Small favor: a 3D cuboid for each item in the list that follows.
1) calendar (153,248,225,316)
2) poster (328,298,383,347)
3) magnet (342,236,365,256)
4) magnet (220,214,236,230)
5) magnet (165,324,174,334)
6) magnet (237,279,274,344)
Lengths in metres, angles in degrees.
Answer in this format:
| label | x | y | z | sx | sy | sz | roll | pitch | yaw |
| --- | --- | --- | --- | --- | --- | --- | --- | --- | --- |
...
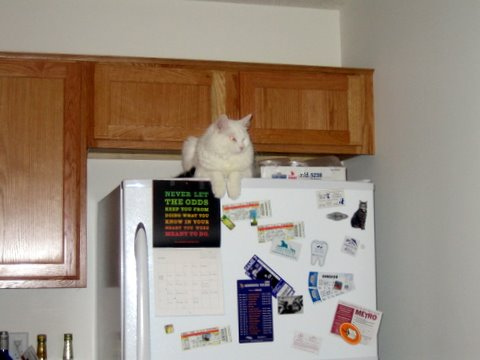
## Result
| label | x | y | z | sx | sy | sz | roll | pitch | yaw |
| --- | --- | --- | --- | --- | --- | --- | --- | --- | --- |
| calendar | -0.182 | 0.353 | 2.138 | 0.237 | 0.177 | 0.038 | -2 | -1 | -10 |
| poster | 0.438 | 0.512 | 2.255 | 0.214 | 0.172 | 0.043 | 19 | -8 | 0 |
| magnet | 0.429 | 0.243 | 2.245 | 0.071 | 0.067 | 0.019 | 23 | -11 | -9 |
| magnet | -0.046 | 0.148 | 2.190 | 0.031 | 0.053 | 0.013 | -42 | 7 | -2 |
| magnet | -0.247 | 0.514 | 2.111 | 0.036 | 0.036 | 0.027 | 1 | -12 | -9 |
| magnet | 0.054 | 0.466 | 2.175 | 0.123 | 0.224 | 0.073 | 0 | 0 | -6 |
